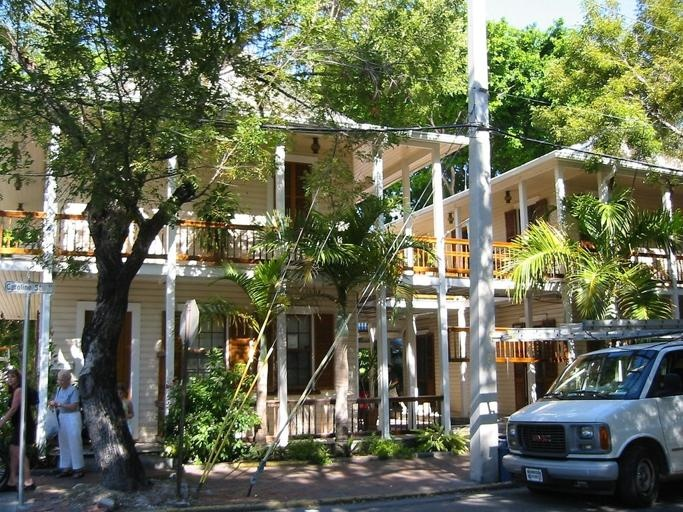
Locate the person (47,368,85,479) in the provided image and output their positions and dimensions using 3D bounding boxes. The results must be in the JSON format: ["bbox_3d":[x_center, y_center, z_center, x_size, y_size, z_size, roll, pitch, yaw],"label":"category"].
[{"bbox_3d":[-5.296,3.233,13.174,0.664,2.011,0.684,8,-12,-42],"label":"person"}]
